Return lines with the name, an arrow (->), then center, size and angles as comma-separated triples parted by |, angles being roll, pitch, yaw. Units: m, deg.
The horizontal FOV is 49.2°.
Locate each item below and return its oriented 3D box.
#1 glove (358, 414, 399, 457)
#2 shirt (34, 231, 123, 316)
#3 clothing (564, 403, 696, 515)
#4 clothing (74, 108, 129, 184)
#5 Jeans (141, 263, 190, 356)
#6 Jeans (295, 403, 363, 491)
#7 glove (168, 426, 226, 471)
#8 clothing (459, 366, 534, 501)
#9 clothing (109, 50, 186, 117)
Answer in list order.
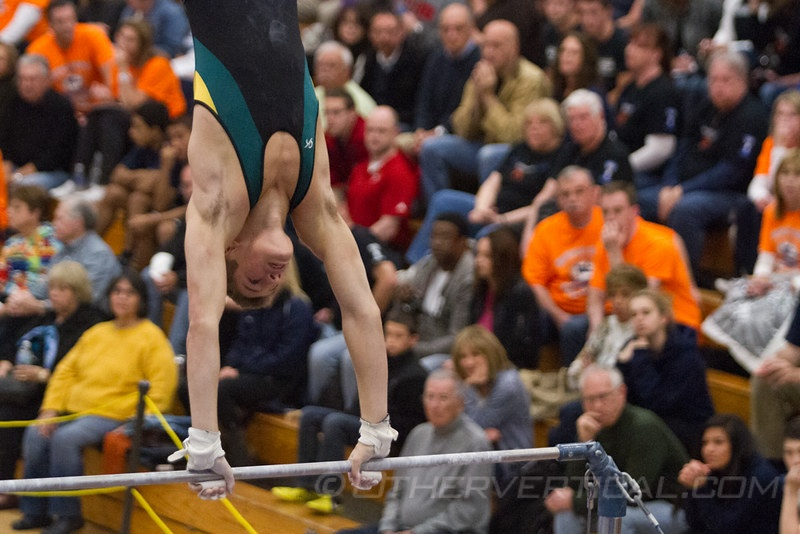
glove -> -0.122, 0.898, 4.629 | 0.161, 0.243, 0.256 | -3, -14, 33
shirt -> -2.783, 0.022, 7.800 | 0.887, 0.685, 0.464 | 8, 17, 44
clothing -> 1.423, 1.170, 5.391 | 0.739, 0.532, 0.535 | -8, -6, -7
clothing -> -2.999, -1.275, 8.952 | 0.492, 0.864, 0.253 | 7, -3, 14
Jeans -> -1.985, 0.296, 7.518 | 0.347, 1.147, 0.374 | -3, -20, 0
Jeans -> -0.539, 1.245, 6.522 | 0.435, 0.460, 0.745 | 4, 14, 5
glove -> -1.012, 0.876, 4.241 | 0.281, 0.196, 0.219 | -1, 14, 7
clothing -> 0.623, 1.115, 6.103 | 0.636, 1.074, 0.477 | -1, 10, 6
clothing -> -2.577, -1.866, 9.194 | 0.587, 0.750, 0.330 | 9, -4, 2
